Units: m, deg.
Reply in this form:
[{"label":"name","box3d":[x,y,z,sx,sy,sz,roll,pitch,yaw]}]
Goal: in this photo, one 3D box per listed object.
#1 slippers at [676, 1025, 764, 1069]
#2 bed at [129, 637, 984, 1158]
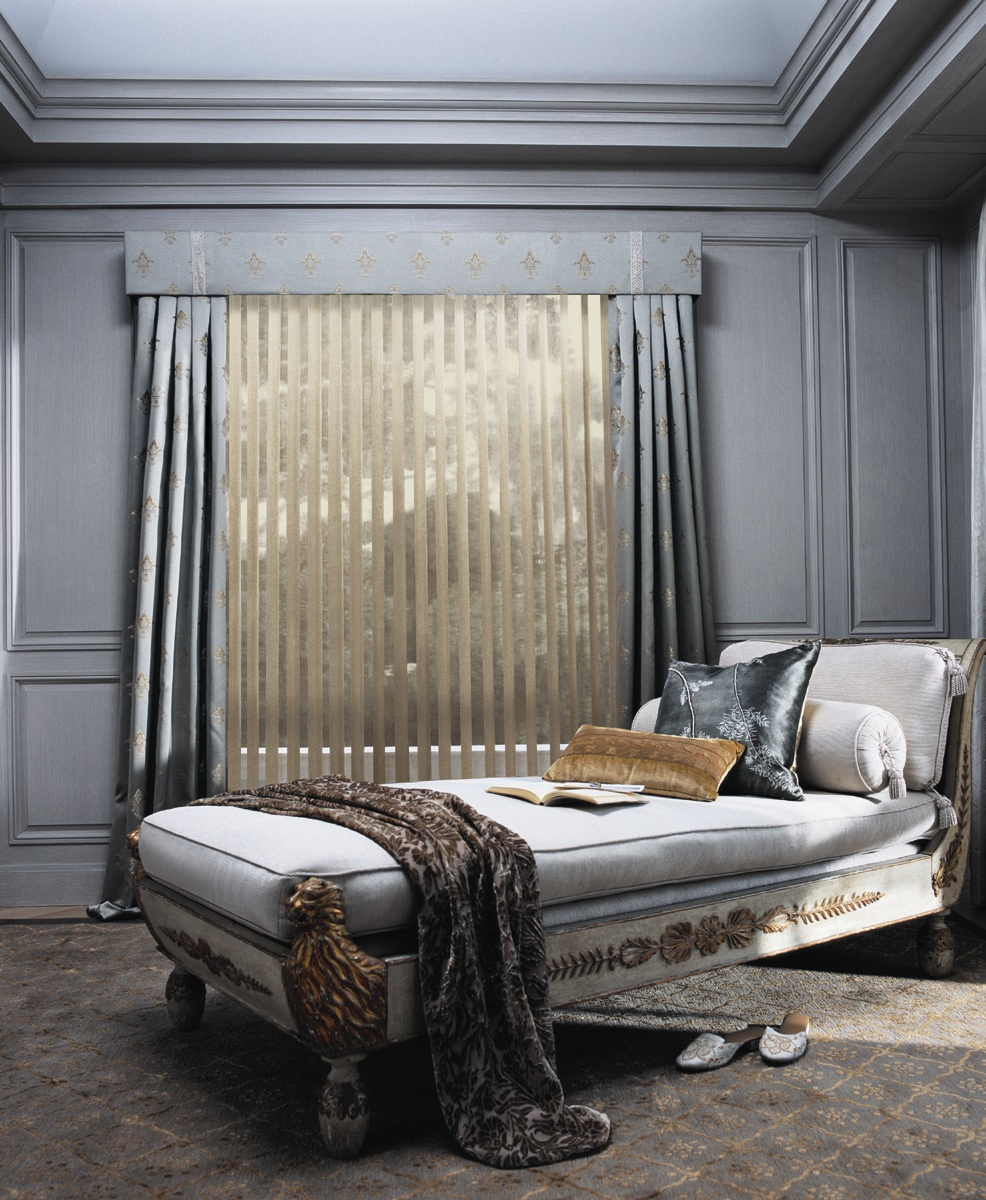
[{"label":"slippers","box3d":[0.466,0.923,2.268,0.065,0.048,0.190,-16,-17,42]},{"label":"bed","box3d":[0.227,0.520,2.587,1.724,0.733,1.001,0,-2,-30]}]
